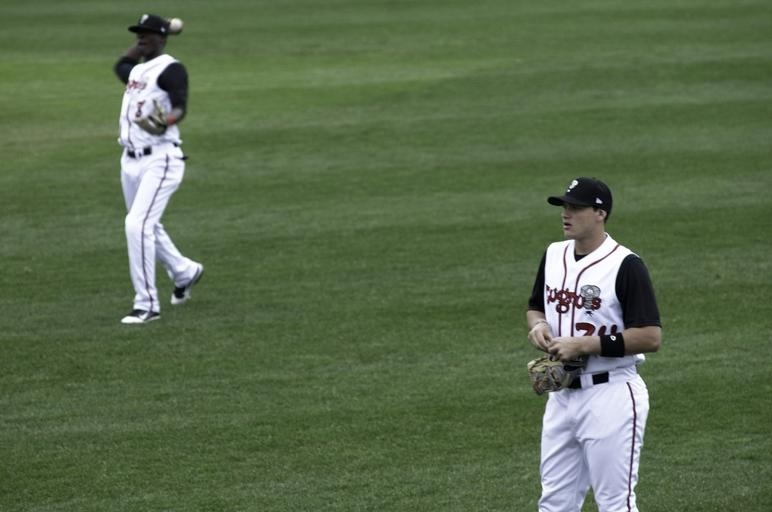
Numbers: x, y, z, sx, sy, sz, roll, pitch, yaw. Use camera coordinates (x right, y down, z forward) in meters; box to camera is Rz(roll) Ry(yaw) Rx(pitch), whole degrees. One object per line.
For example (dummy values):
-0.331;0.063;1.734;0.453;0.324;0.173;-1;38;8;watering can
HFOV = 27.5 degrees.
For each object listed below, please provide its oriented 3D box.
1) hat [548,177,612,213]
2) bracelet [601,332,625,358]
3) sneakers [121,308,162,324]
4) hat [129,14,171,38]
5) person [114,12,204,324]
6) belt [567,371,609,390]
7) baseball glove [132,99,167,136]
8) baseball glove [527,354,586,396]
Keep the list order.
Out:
1.871;-0.594;15.057;0.566;0.247;0.328;11;3;-3;hat
2.114;0.825;14.754;0.209;0.211;0.246;13;12;43;bracelet
-2.696;0.670;17.478;0.459;0.154;0.155;1;-1;-13;sneakers
-2.544;-2.618;17.410;0.473;0.183;0.278;9;-2;-21;hat
-2.557;-0.991;17.466;0.901;3.364;1.027;-3;12;14;person
1.916;1.168;14.854;0.233;0.073;0.215;-9;-3;-15;belt
-2.510;-1.499;17.174;0.408;0.298;0.171;35;13;7;baseball glove
1.608;1.102;14.879;0.493;0.322;0.216;-12;-22;10;baseball glove
